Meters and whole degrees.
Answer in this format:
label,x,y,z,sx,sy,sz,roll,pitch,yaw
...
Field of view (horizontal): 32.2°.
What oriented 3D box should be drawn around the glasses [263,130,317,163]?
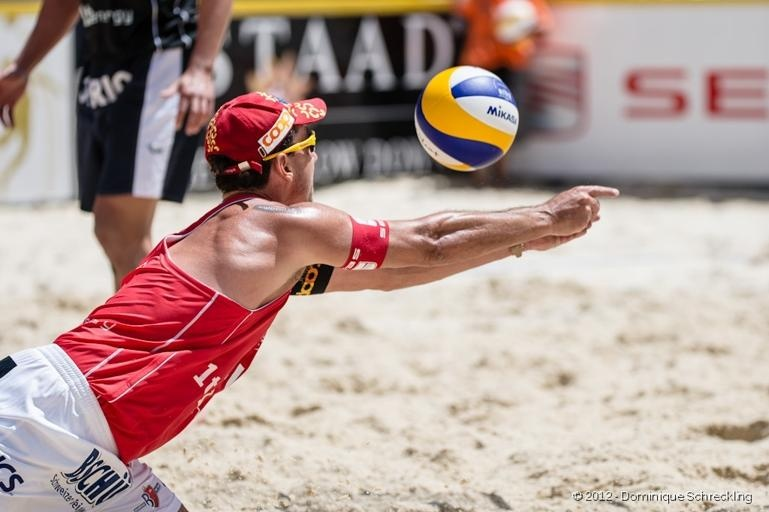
label,x,y,z,sx,sy,sz,roll,pitch,yaw
glasses,-0.491,-0.597,7.045,0.224,0.055,0.175,-27,11,-12
